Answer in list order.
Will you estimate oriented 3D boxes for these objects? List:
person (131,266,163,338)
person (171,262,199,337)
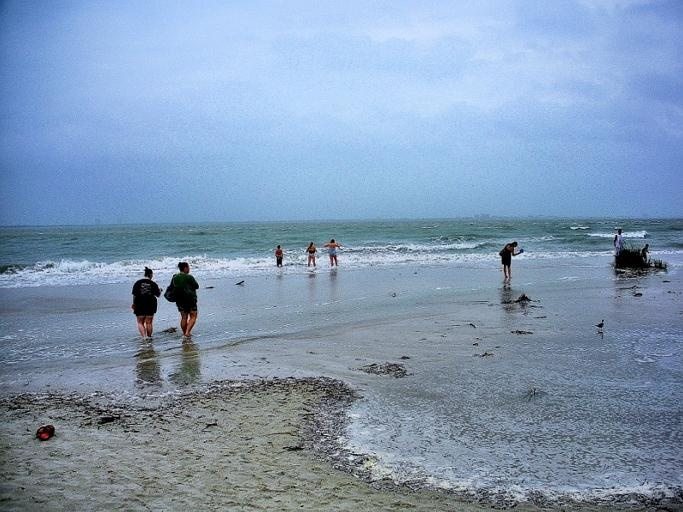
[{"bbox_3d":[-4.244,1.011,13.025,0.589,1.522,0.514,-1,6,34],"label":"person"},{"bbox_3d":[-3.469,0.932,13.269,0.544,1.580,0.966,-6,5,-15],"label":"person"}]
